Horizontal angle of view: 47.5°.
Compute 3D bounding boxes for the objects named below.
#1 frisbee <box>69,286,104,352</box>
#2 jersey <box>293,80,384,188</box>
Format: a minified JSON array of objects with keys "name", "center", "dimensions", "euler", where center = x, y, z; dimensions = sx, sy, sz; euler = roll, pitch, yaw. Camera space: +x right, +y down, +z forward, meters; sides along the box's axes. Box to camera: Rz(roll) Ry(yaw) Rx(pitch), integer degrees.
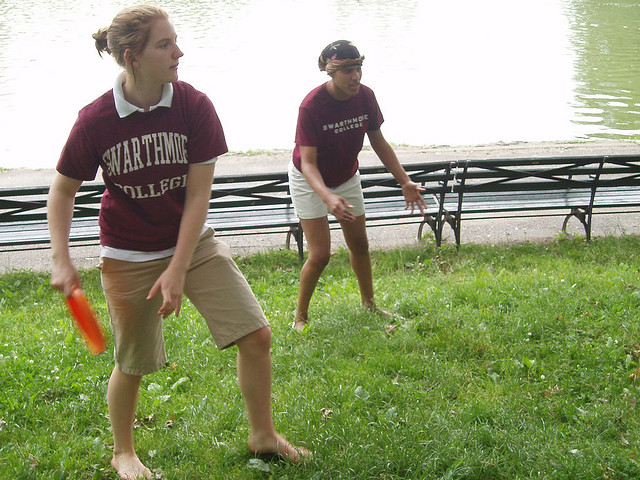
[{"name":"frisbee","center":[-1.498,0.500,4.671],"dimensions":[0.179,0.450,0.084],"euler":[-7,10,-21]},{"name":"jersey","center":[0.146,-1.015,6.616],"dimensions":[0.924,1.010,0.524],"euler":[-16,53,-19]}]
